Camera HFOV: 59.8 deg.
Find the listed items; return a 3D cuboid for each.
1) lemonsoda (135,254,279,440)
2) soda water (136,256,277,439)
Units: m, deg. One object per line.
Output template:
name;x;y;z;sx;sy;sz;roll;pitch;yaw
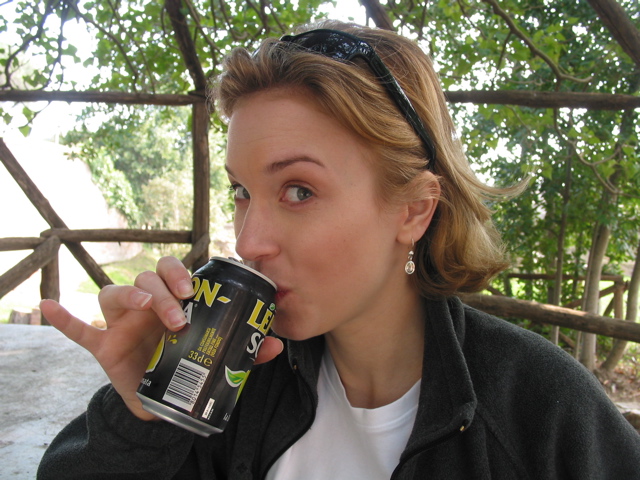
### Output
lemonsoda;-0.435;0.406;2.205;0.348;0.615;0.363;21;-6;-22
soda water;-0.421;0.408;2.204;0.355;0.613;0.349;12;-8;41
